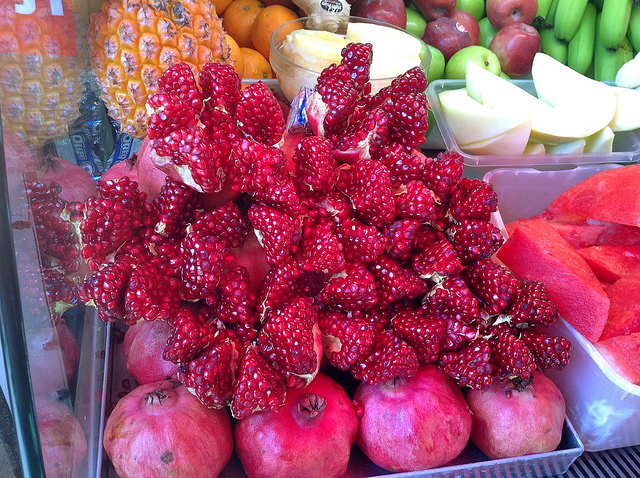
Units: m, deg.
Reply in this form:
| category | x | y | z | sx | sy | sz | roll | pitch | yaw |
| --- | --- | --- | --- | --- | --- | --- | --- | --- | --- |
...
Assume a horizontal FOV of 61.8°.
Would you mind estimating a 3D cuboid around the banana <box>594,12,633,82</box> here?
| category | x | y | z | sx | sy | sz | roll | pitch | yaw |
| --- | --- | --- | --- | --- | --- | --- | --- | --- | --- |
| banana | 1.180 | -0.777 | 2.157 | 0.092 | 0.394 | 0.132 | 6 | 25 | 25 |

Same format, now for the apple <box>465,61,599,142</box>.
| category | x | y | z | sx | sy | sz | roll | pitch | yaw |
| --- | --- | --- | --- | --- | --- | --- | --- | --- | --- |
| apple | 0.641 | -0.441 | 1.680 | 0.346 | 0.242 | 0.122 | 40 | 95 | 21 |

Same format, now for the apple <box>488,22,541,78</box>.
| category | x | y | z | sx | sy | sz | roll | pitch | yaw |
| --- | --- | --- | --- | --- | --- | --- | --- | --- | --- |
| apple | 0.742 | -0.729 | 2.076 | 0.170 | 0.213 | 0.173 | 28 | 54 | 14 |

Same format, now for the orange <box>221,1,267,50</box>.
| category | x | y | z | sx | sy | sz | roll | pitch | yaw |
| --- | --- | --- | --- | --- | --- | --- | --- | --- | --- |
| orange | -0.266 | -0.738 | 1.851 | 0.144 | 0.150 | 0.099 | -22 | 35 | -33 |

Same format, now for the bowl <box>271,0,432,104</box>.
| category | x | y | z | sx | sy | sz | roll | pitch | yaw |
| --- | --- | --- | --- | --- | --- | --- | --- | --- | --- |
| bowl | 0.049 | -0.555 | 1.537 | 0.422 | 0.253 | 0.434 | 5 | 34 | -3 |

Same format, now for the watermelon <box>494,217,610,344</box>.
| category | x | y | z | sx | sy | sz | roll | pitch | yaw |
| --- | --- | --- | --- | --- | --- | --- | --- | --- | --- |
| watermelon | 0.574 | 0.084 | 1.271 | 0.159 | 0.136 | 0.341 | 3 | 28 | -25 |
